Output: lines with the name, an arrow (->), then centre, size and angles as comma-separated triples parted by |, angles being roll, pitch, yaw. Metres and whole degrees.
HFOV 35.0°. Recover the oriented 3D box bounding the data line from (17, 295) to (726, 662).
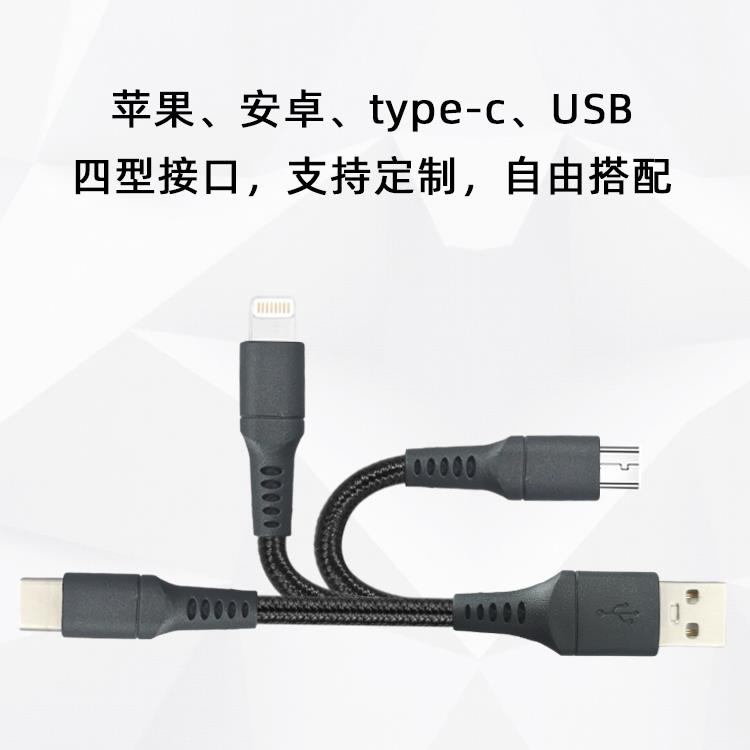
data line -> 0.003, 0.228, 1.437 | 0.705, 0.608, 0.056 | 1, -2, 4
